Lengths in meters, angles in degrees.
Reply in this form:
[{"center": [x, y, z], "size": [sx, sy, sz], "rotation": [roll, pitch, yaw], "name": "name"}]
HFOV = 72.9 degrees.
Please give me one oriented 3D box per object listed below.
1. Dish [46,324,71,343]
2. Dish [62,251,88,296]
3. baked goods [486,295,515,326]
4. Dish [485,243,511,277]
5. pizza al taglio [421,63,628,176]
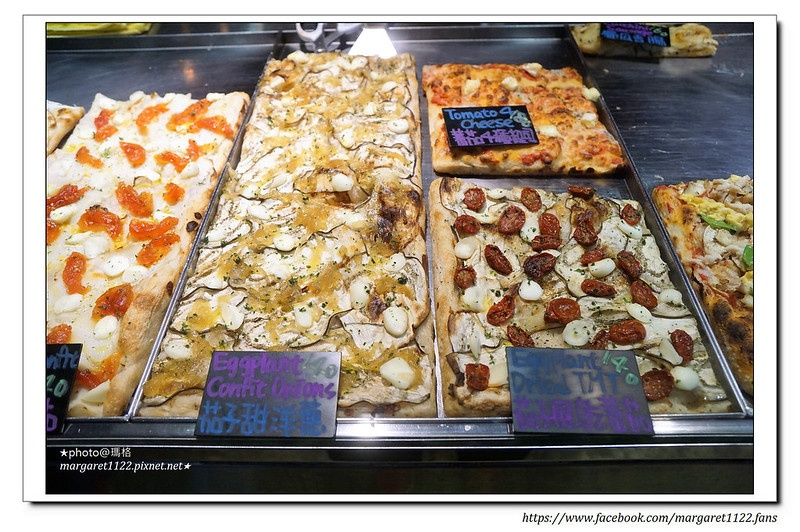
[{"center": [-2.217, 0.436, 3.502], "size": [0.155, 0.147, 0.091], "rotation": [0, -23, -11], "name": "Dish"}, {"center": [-2.256, 0.047, 3.766], "size": [0.163, 0.317, 0.048], "rotation": [-4, -23, -1], "name": "Dish"}, {"center": [0.664, 0.296, 3.540], "size": [0.216, 0.132, 0.070], "rotation": [-46, -19, -9], "name": "baked goods"}, {"center": [0.673, -0.042, 3.721], "size": [0.140, 0.213, 0.057], "rotation": [-13, -36, -12], "name": "Dish"}, {"center": [0.981, -1.233, 4.535], "size": [1.305, 1.179, 0.199], "rotation": [-1, -44, -3], "name": "pizza al taglio"}]
